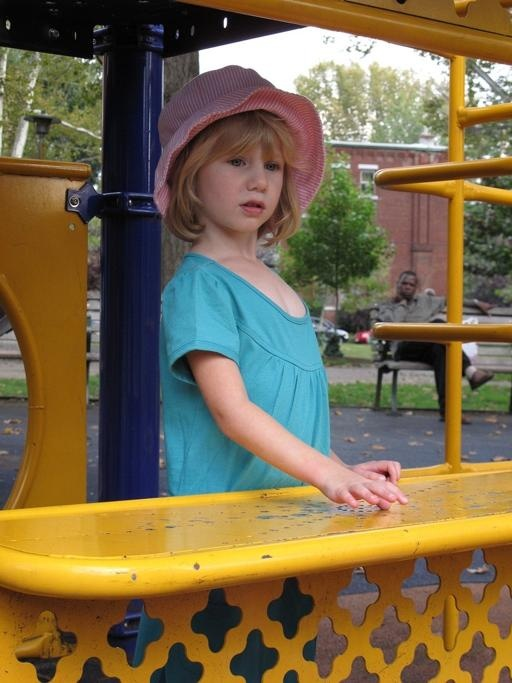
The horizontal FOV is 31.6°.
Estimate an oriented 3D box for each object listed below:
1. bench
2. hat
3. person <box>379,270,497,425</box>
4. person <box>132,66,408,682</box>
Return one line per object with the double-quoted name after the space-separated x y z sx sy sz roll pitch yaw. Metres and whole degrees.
1.248 0.210 6.173 1.123 0.627 0.437 2 -5 -23 "bench"
-0.040 -0.343 1.551 0.252 0.280 0.148 -19 49 -27 "hat"
1.315 -0.072 7.314 0.912 1.016 1.742 -3 12 -15 "person"
0.015 0.016 1.352 0.393 0.903 0.759 -1 4 -7 "person"
